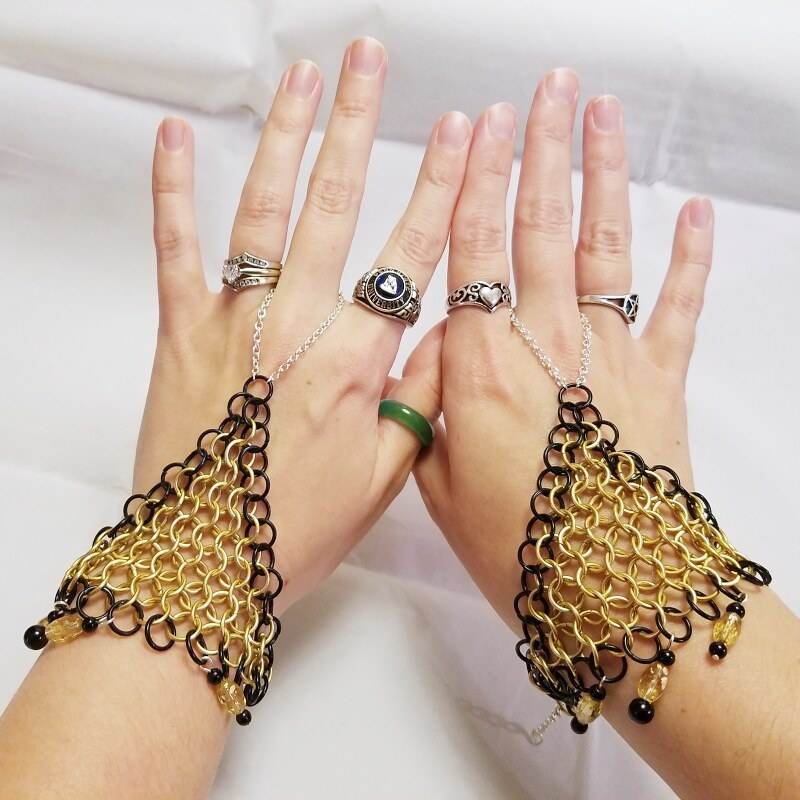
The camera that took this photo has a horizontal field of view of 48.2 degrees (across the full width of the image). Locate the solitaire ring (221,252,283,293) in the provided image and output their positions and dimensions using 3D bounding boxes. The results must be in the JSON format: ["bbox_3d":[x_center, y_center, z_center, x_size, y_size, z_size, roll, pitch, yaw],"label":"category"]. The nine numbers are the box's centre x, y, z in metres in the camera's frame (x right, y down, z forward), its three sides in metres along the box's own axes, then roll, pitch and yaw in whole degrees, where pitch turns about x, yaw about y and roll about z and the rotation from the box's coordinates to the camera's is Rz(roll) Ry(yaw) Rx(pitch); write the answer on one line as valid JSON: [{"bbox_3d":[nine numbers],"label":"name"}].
[{"bbox_3d":[-0.391,-0.326,2.302,0.102,0.068,0.114,2,7,25],"label":"solitaire ring"}]
